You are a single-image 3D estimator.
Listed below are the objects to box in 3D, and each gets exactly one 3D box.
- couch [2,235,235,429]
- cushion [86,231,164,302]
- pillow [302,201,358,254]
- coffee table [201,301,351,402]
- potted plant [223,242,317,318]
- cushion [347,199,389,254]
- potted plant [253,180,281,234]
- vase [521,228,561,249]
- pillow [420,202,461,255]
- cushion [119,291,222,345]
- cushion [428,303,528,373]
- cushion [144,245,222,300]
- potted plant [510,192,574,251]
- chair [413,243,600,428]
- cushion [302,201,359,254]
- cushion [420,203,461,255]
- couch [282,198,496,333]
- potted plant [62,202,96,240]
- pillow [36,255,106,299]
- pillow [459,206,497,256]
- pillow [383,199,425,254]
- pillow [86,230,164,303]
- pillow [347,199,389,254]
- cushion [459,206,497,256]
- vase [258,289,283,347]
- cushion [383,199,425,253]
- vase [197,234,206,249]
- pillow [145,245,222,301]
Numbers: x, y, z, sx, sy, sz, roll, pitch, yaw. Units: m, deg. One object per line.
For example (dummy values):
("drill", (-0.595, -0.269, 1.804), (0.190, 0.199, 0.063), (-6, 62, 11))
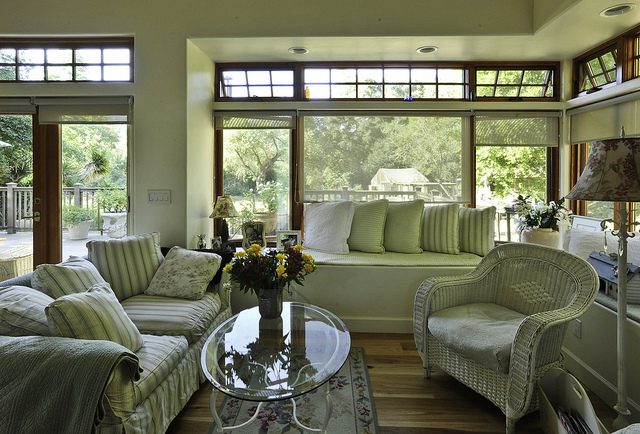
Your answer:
("couch", (-1.546, 0.864, 3.769), (1.189, 1.259, 1.585), (0, 4, 5))
("cushion", (-1.764, 0.464, 4.419), (0.622, 0.606, 0.234), (-8, -9, -18))
("pillow", (0.070, 0.103, 5.347), (0.283, 0.620, 0.730), (-8, 5, -44))
("coffee table", (-0.321, 0.935, 3.572), (1.061, 0.037, 1.100), (-1, 24, 12))
("potted plant", (-0.371, 0.531, 3.871), (0.638, 0.501, 0.459), (8, 5, 11))
("cushion", (0.519, 0.111, 5.326), (0.308, 0.517, 0.655), (-18, 7, -36))
("potted plant", (-0.637, -0.090, 5.866), (0.301, 0.510, 0.264), (2, 7, 26))
("vase", (2.194, 0.202, 4.807), (0.243, 0.227, 0.243), (2, 2, 10))
("pillow", (1.305, 0.137, 5.258), (0.212, 0.526, 0.579), (2, -3, -29))
("cushion", (-1.341, 0.773, 4.163), (0.585, 0.130, 0.624), (-1, 27, -42))
("cushion", (1.284, 0.933, 3.774), (0.505, 0.132, 0.495), (-2, 6, -25))
("cushion", (-1.246, 0.535, 4.453), (0.584, 0.166, 0.614), (12, 43, 19))
("potted plant", (2.239, 0.081, 4.945), (0.454, 0.532, 0.411), (3, -1, 35))
("chair", (1.428, 0.894, 3.863), (0.779, 1.302, 1.158), (-4, 6, -37))
("cushion", (0.055, 0.107, 5.334), (0.657, 0.565, 0.273), (-2, 7, 44))
("cushion", (1.296, 0.154, 5.275), (0.216, 0.538, 0.586), (-4, 1, -29))
("couch", (0.642, 0.470, 5.167), (2.293, 1.422, 1.162), (0, -1, 21))
("potted plant", (-2.568, 0.024, 5.392), (0.444, 0.437, 0.374), (1, 3, 0))
("pillow", (-1.939, 0.465, 3.793), (0.544, 0.125, 0.535), (7, 28, -15))
("pillow", (1.625, 0.158, 5.044), (0.187, 0.506, 0.490), (5, -1, -43))
("pillow", (0.892, 0.102, 5.294), (0.226, 0.614, 0.627), (6, -3, -31))
("pillow", (-1.690, 0.458, 4.248), (0.534, 0.529, 0.199), (-6, -18, -43))
("pillow", (0.513, 0.126, 5.183), (0.537, 0.430, 0.209), (-2, 12, 44))
("cushion", (1.624, 0.159, 5.043), (0.190, 0.517, 0.499), (3, 0, -44))
("vase", (-0.379, 0.772, 3.888), (0.244, 0.411, 0.237), (-2, 2, -22))
("cushion", (0.888, 0.120, 5.150), (0.536, 0.511, 0.188), (2, -7, 37))
("vase", (-1.200, 0.260, 5.031), (0.126, 0.162, 0.135), (0, 0, 0))
("pillow", (-1.253, 0.510, 4.448), (0.598, 0.155, 0.592), (-3, 47, -9))
